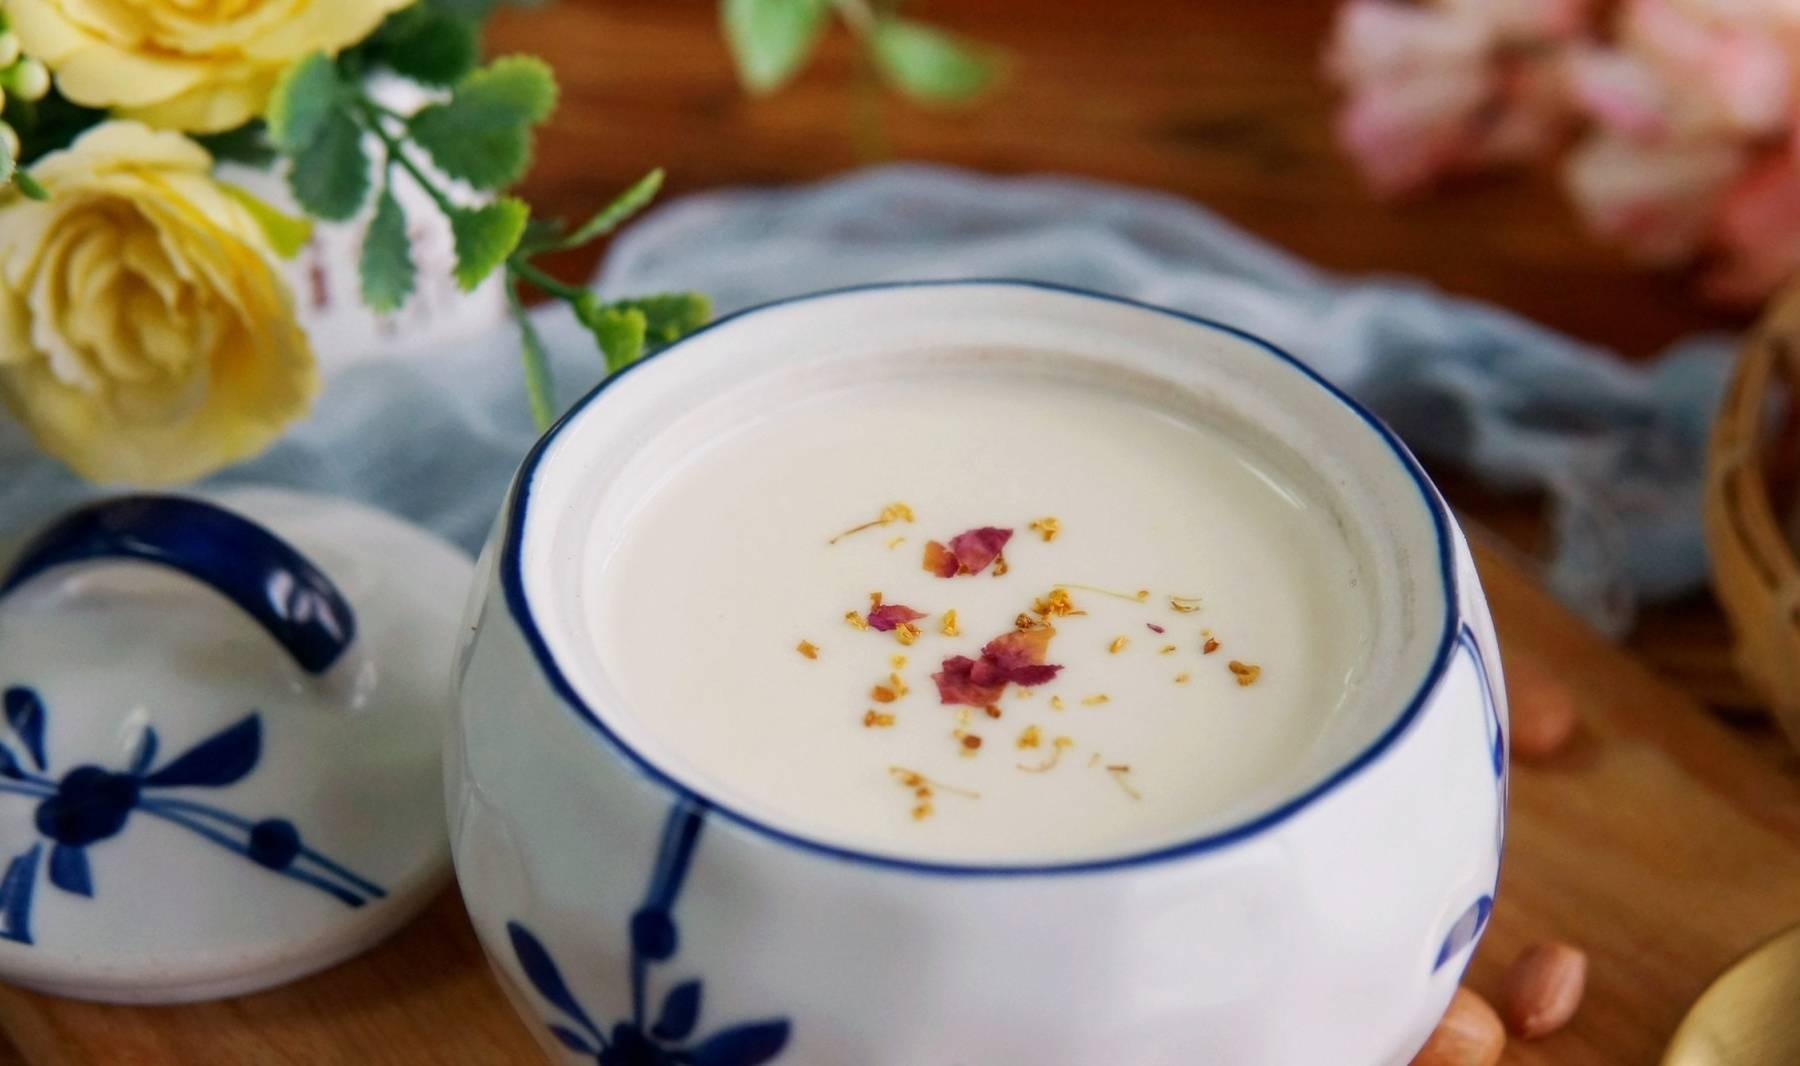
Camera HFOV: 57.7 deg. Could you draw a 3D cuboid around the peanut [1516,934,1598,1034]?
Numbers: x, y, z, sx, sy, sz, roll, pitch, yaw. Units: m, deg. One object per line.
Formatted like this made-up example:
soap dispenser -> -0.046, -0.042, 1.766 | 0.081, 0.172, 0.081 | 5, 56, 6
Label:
peanut -> 0.409, 0.284, 1.018 | 0.041, 0.032, 0.055 | 17, 108, 17
